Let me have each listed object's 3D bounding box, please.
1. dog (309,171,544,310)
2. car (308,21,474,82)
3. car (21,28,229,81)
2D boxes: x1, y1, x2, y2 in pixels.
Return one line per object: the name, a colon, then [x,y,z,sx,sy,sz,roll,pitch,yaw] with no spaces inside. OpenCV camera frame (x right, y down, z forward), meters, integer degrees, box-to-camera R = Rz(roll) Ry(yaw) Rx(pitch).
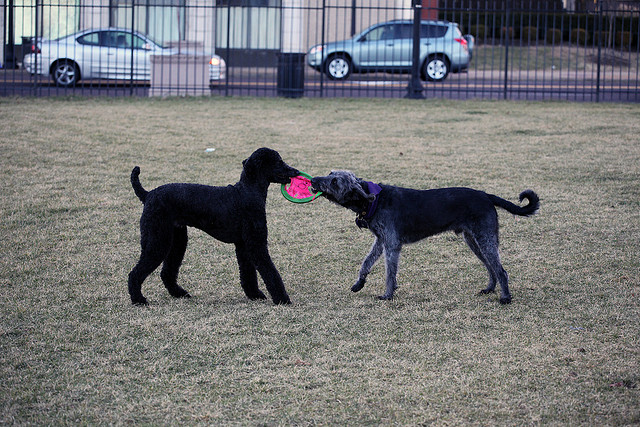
dog: [1.942,0.446,22.870,3.866,2.445,1.196,0,10,2]
car: [2.304,-4.864,36.627,5.040,2.192,2.166,2,6,9]
car: [-5.745,-4.656,35.962,5.922,1.858,2.600,-1,10,-6]
